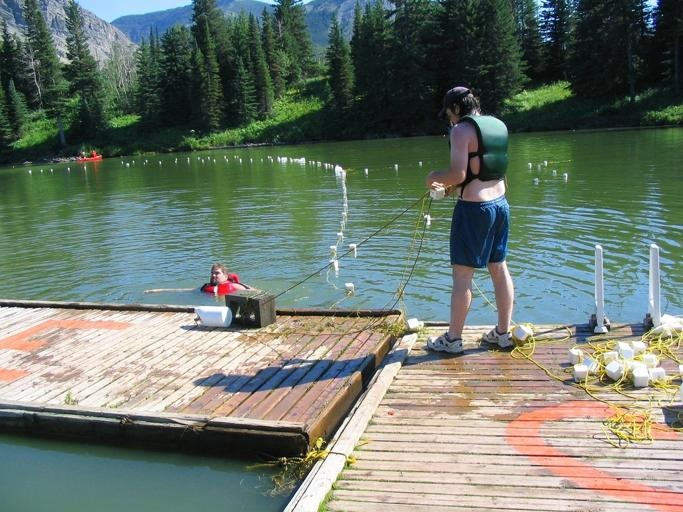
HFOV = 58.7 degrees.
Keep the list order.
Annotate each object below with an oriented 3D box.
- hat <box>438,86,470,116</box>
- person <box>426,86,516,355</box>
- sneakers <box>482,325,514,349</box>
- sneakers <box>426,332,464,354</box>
[{"bbox_3d":[1.101,-1.578,6.052,0.357,0.192,0.252,-23,13,34],"label":"hat"},{"bbox_3d":[1.296,-0.170,6.014,0.891,2.384,0.427,-7,15,-2],"label":"person"},{"bbox_3d":[1.641,0.855,6.411,0.141,0.151,0.361,-18,19,-39],"label":"sneakers"},{"bbox_3d":[1.076,0.889,6.374,0.414,0.180,0.166,6,22,25],"label":"sneakers"}]
